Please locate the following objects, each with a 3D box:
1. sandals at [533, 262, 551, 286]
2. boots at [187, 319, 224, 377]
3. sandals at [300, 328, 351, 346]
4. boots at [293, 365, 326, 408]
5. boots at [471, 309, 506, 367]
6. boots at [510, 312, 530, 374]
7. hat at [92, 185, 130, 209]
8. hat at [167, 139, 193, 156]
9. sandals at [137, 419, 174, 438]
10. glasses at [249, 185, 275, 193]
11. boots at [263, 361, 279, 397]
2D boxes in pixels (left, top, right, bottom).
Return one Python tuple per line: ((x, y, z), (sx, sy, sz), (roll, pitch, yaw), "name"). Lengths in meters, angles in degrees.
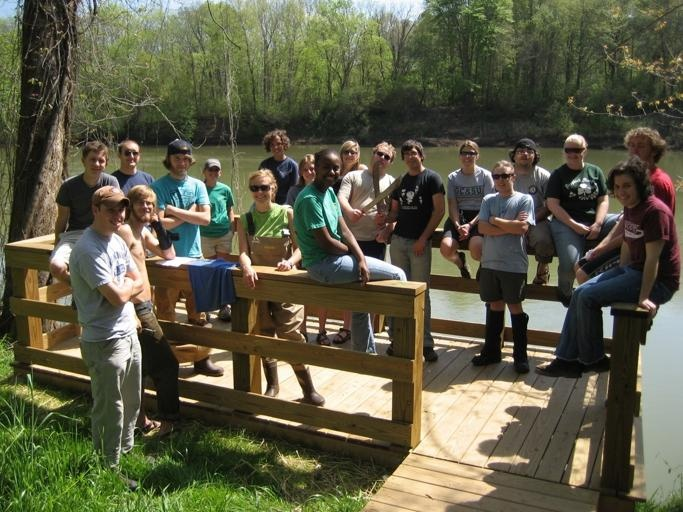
((2.436, 0.157, 7.340), (0.178, 0.246, 0.598), (0, 15, 23), "sandals")
((-1.506, 0.968, 6.713), (0.358, 0.580, 0.607), (0, 6, -19), "boots")
((-0.116, 0.960, 7.190), (0.427, 0.125, 0.244), (-2, 24, -16), "sandals")
((-0.310, 1.232, 5.841), (0.301, 0.394, 0.235), (2, 5, 4), "boots")
((1.633, 0.878, 6.693), (0.367, 0.656, 0.228), (1, 5, -6), "boots")
((1.965, 0.907, 6.584), (0.200, 0.658, 0.415), (5, 6, 28), "boots")
((-1.860, -0.467, 4.876), (0.226, 0.128, 0.172), (-2, 1, 21), "hat")
((-1.829, -1.194, 6.808), (0.216, 0.142, 0.211), (-17, 30, -39), "hat")
((-1.773, 1.620, 5.776), (0.325, 0.147, 0.243), (4, 6, 20), "sandals")
((-0.800, -0.671, 6.077), (0.228, 0.065, 0.138), (1, 5, -9), "glasses")
((-0.692, 1.214, 5.972), (0.159, 0.361, 0.442), (1, 5, -7), "boots")
